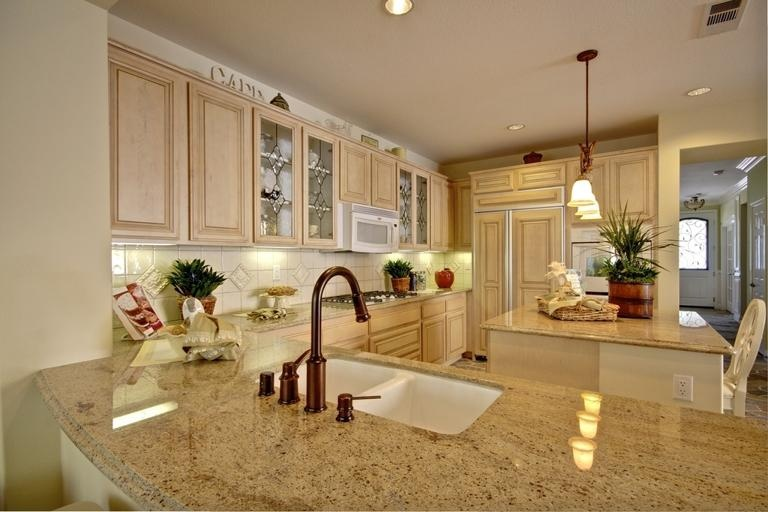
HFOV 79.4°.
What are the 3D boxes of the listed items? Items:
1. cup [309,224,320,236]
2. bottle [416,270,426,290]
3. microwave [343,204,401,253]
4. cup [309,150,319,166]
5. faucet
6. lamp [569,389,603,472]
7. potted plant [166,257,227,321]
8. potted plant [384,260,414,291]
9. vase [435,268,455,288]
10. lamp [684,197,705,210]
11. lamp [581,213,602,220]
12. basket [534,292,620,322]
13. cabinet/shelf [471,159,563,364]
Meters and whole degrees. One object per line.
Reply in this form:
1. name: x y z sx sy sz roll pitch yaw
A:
1. cup: -0.574 -0.205 3.803 0.089 0.056 0.085 1 5 0
2. bottle: 0.421 0.301 5.459 0.086 0.205 0.314 -3 2 12
3. microwave: -0.122 -0.238 4.328 0.401 0.452 0.761 -2 -3 30
4. cup: -0.585 -0.787 3.802 0.101 0.091 0.105 3 13 -1
5. faucet: -0.204 0.328 1.914 0.279 0.569 0.280 -4 3 -2
6. lamp: 0.759 0.627 1.737 0.088 0.086 0.427 2 15 23
7. potted plant: -1.205 0.233 3.197 0.391 0.343 0.374 -3 -6 29
8. potted plant: 0.166 0.212 5.132 0.354 0.354 0.361 0 0 11
9. vase: 0.722 0.275 5.715 0.234 0.248 0.239 5 7 42
10. lamp: 6.324 -1.046 9.449 0.395 0.226 0.372 -2 4 7
11. lamp: 1.704 -0.319 3.811 0.157 0.050 0.148 -1 -3 -7
12. basket: 1.317 0.354 3.212 0.546 0.159 0.344 -2 3 26
13. cabinet/shelf: 1.494 -0.113 5.208 1.045 1.757 0.263 -2 4 38
